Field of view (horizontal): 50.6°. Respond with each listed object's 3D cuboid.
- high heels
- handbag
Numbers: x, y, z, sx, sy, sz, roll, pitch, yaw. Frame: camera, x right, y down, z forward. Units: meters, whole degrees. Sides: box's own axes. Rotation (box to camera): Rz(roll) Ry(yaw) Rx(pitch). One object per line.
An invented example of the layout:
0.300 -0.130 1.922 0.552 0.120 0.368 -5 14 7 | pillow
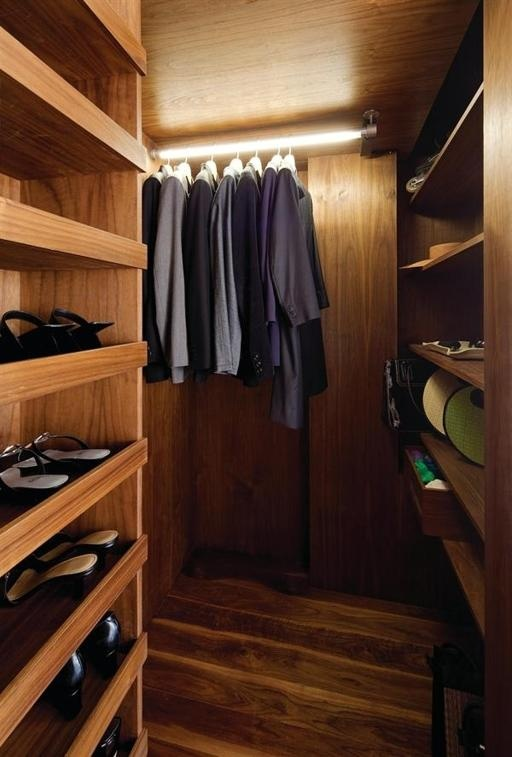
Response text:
-0.355 0.593 1.130 0.062 0.093 0.197 4 16 -1 | high heels
0.552 0.108 1.748 0.170 0.261 0.331 2 4 3 | handbag
